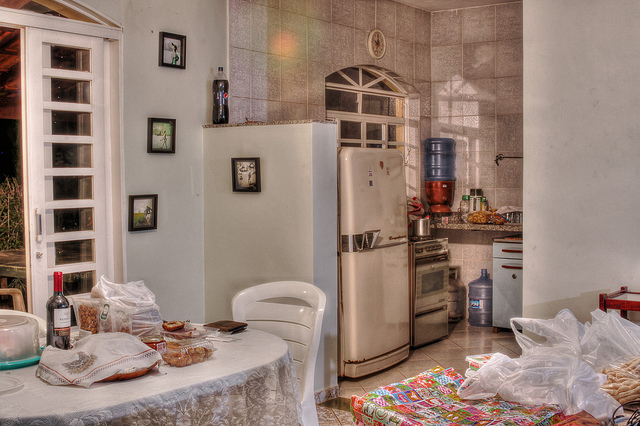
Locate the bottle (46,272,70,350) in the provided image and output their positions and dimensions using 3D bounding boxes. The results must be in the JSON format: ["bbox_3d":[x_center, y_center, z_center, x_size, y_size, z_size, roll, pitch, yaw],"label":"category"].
[{"bbox_3d":[-1.253,0.478,2.332,0.144,0.386,0.141,3,6,0],"label":"bottle"}]

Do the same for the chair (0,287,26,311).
[{"bbox_3d":[-2.321,0.653,3.684,0.150,0.194,0.207,-3,4,-31],"label":"chair"}]

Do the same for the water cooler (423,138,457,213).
[{"bbox_3d":[1.532,-0.501,6.355,0.406,0.941,0.395,7,9,33],"label":"water cooler"}]

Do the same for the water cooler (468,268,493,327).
[{"bbox_3d":[1.955,1.032,5.924,0.255,0.694,0.137,0,4,9],"label":"water cooler"}]

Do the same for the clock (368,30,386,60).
[{"bbox_3d":[0.693,-2.038,5.874,0.071,0.303,0.309,5,9,25],"label":"clock"}]

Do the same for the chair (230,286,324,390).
[{"bbox_3d":[-0.161,0.748,3.115,0.574,0.705,0.551,-2,-5,18],"label":"chair"}]

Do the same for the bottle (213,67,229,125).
[{"bbox_3d":[-0.902,-1.066,4.418,0.142,0.504,0.078,-2,4,-16],"label":"bottle"}]
